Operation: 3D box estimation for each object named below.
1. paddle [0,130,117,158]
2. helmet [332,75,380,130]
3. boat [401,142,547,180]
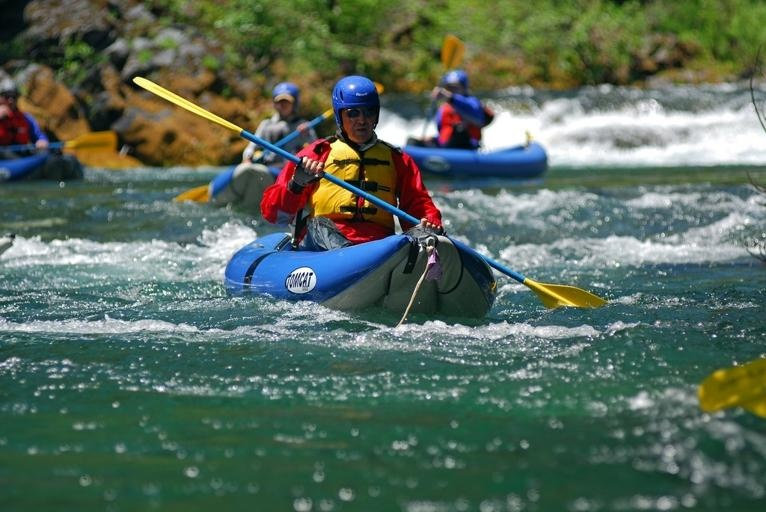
[{"bbox_3d":[-5.187,-1.791,16.264,2.082,0.220,0.471,-12,-10,24],"label":"paddle"},{"bbox_3d":[-0.288,-1.467,9.450,0.388,0.420,0.471,1,-7,-14],"label":"helmet"},{"bbox_3d":[1.431,-1.357,14.800,1.706,0.447,0.771,5,-2,-13],"label":"boat"}]
